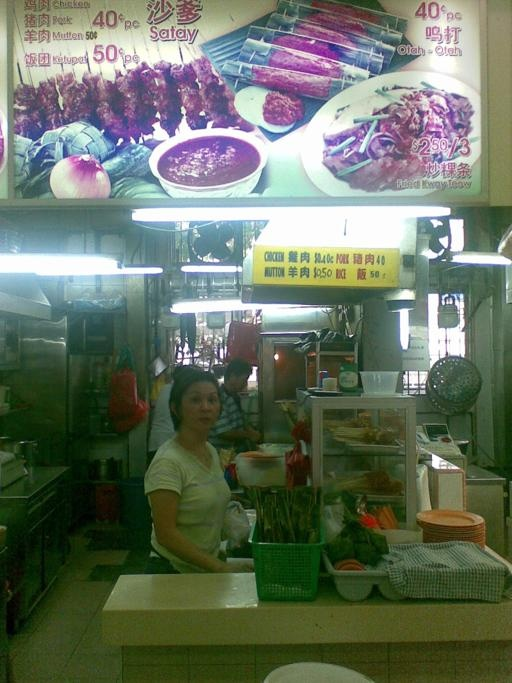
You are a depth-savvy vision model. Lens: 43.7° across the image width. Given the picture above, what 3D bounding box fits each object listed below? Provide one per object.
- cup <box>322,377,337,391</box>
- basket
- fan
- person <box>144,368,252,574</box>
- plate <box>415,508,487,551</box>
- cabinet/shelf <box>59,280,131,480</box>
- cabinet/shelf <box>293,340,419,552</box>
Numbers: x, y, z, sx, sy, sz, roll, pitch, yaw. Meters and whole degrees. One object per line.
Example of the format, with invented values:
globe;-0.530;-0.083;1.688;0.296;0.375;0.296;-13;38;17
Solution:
cup;0.344;0.194;2.931;0.063;0.056;0.058;2;-6;0
basket;0.095;0.613;1.955;0.223;0.306;0.317;2;-16;-1
fan;1.595;0.355;5.212;0.416;0.478;0.346;-2;0;13
person;-0.232;0.524;2.527;0.397;0.623;0.716;-1;0;-9
plate;0.724;0.668;2.320;0.187;0.069;0.166;1;-2;-29
cabinet/shelf;-1.594;0.385;6.540;0.636;1.453;1.083;-1;0;-12
cabinet/shelf;0.379;0.439;2.944;0.515;0.714;0.898;-1;-5;-1
